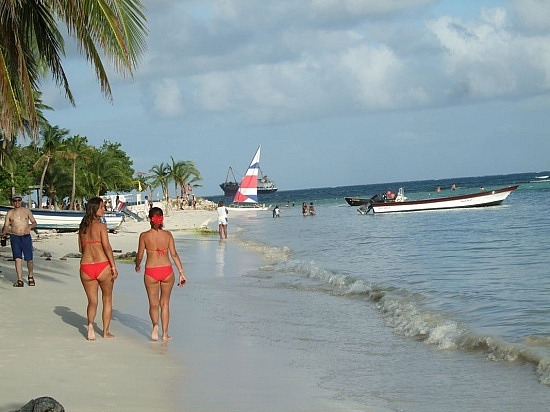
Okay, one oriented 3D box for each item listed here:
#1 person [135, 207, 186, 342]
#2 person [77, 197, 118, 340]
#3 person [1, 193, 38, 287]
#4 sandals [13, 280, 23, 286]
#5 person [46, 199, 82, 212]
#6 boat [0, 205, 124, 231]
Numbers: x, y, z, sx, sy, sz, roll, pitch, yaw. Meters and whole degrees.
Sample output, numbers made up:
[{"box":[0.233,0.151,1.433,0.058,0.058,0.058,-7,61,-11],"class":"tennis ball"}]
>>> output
[{"box":[-1.820,1.112,8.897,0.729,2.144,0.556,0,5,-11],"class":"person"},{"box":[-2.721,1.000,8.639,0.522,2.203,0.375,-1,5,-19],"class":"person"},{"box":[-5.152,0.743,11.366,0.575,1.868,0.440,-2,5,-24],"class":"person"},{"box":[-5.187,1.590,11.380,0.119,0.104,0.170,-2,-8,28],"class":"sandals"},{"box":[-15.289,0.026,40.808,1.653,0.869,0.988,3,2,21],"class":"person"},{"box":[-6.572,0.429,17.514,3.483,0.724,0.847,8,-5,-35],"class":"boat"}]
